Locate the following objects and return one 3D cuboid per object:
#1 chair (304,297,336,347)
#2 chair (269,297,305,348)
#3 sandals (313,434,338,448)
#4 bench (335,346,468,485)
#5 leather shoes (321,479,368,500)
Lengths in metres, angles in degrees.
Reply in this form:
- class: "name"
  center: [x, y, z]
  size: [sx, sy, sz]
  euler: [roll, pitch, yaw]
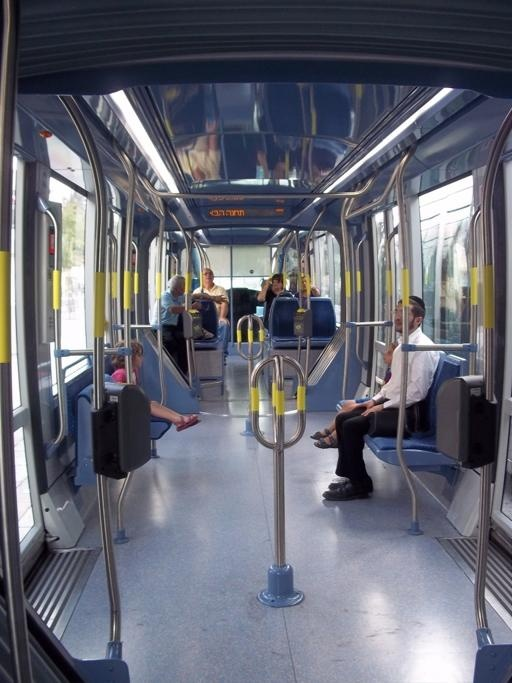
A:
- class: "chair"
  center: [1.106, -0.490, 8.770]
  size: [0.478, 0.819, 0.462]
  euler: [3, 37, 9]
- class: "chair"
  center: [0.473, -0.376, 8.627]
  size: [0.647, 0.850, 0.823]
  euler: [3, 6, 23]
- class: "sandals"
  center: [0.675, 0.967, 4.841]
  size: [0.258, 0.107, 0.090]
  euler: [2, -2, -6]
- class: "bench"
  center: [1.425, 0.617, 4.175]
  size: [0.607, 0.934, 1.158]
  euler: [0, 0, 23]
- class: "leather shoes"
  center: [0.742, 1.257, 4.287]
  size: [0.400, 0.186, 0.150]
  euler: [4, -7, -4]
